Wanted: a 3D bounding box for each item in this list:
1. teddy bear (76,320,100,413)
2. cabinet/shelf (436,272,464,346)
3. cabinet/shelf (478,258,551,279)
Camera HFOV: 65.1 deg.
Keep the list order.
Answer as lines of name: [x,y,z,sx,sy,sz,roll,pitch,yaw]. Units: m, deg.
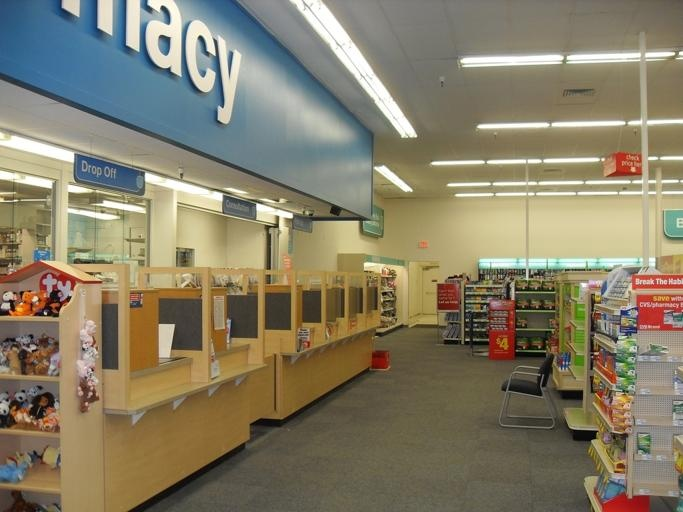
teddy bear: [-2.177,0.938,4.632,0.187,0.595,0.125,1,-1,-32]
cabinet/shelf: [3.452,1.678,16.946,0.690,2.097,2.082,0,4,12]
cabinet/shelf: [6.358,0.456,19.868,2.530,0.774,0.621,1,-1,15]
